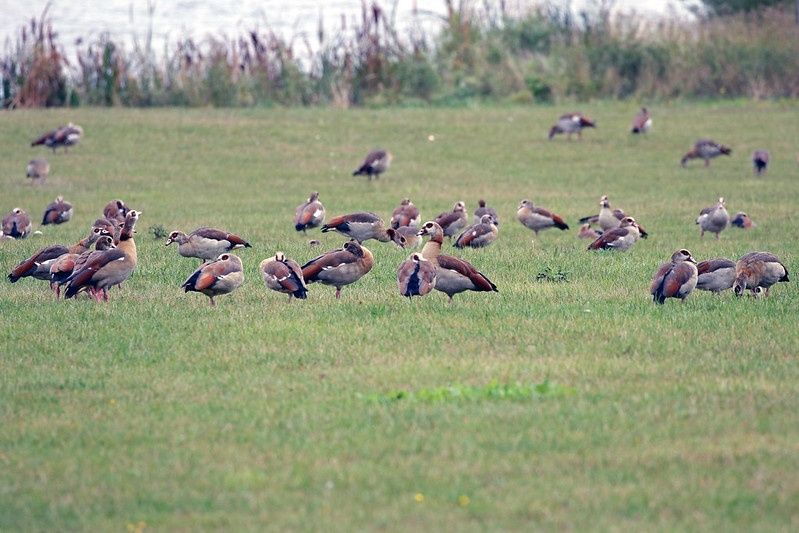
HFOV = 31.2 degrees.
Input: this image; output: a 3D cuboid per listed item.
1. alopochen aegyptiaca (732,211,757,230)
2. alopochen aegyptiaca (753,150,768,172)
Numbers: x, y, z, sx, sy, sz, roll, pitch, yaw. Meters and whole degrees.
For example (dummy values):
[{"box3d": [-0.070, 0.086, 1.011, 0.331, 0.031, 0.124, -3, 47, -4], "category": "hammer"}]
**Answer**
[{"box3d": [12.494, -1.693, 51.668, 0.553, 0.529, 0.750, 0, -3, -13], "category": "alopochen aegyptiaca"}, {"box3d": [15.109, -4.335, 59.553, 0.661, 1.215, 1.876, 0, 12, 14], "category": "alopochen aegyptiaca"}]
